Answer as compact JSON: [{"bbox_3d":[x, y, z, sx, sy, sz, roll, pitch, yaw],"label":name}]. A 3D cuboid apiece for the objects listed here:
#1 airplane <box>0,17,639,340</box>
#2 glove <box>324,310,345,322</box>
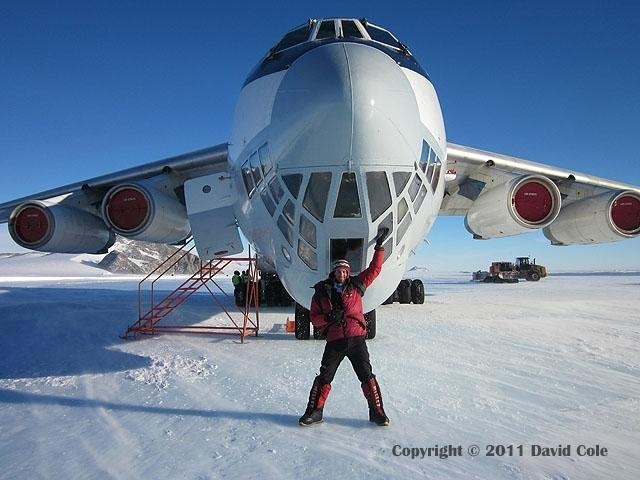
[{"bbox_3d":[-0.391,-1.102,9.683,9.815,3.230,8.068,-2,3,-3],"label":"airplane"},{"bbox_3d":[0.186,1.000,5.652,0.226,0.187,0.092,0,2,0],"label":"glove"}]
